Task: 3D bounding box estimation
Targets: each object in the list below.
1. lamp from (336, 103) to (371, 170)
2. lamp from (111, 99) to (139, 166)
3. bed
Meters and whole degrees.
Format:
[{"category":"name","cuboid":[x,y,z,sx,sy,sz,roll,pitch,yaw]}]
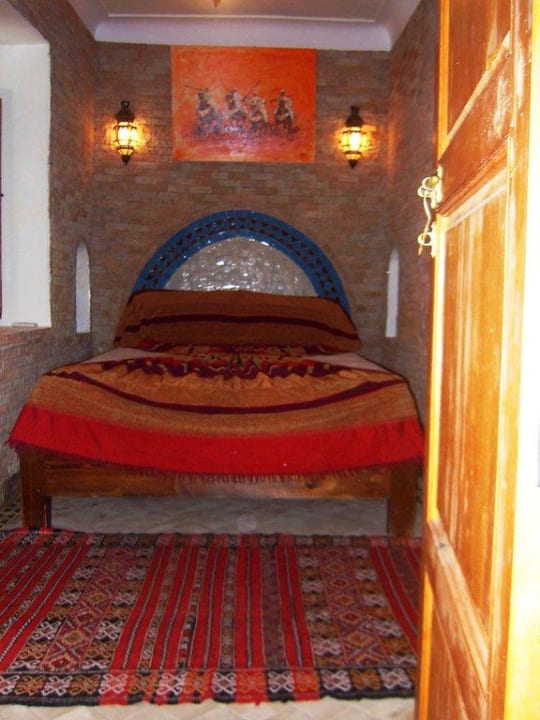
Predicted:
[{"category":"lamp","cuboid":[0.816,-2.184,5.529,0.314,0.567,0.251,2,4,8]},{"category":"lamp","cuboid":[-1.390,-2.205,5.423,0.259,0.591,0.277,0,4,-15]},{"category":"bed","cuboid":[-0.364,-0.071,4.316,2.034,1.592,3.175,2,7,-5]}]
